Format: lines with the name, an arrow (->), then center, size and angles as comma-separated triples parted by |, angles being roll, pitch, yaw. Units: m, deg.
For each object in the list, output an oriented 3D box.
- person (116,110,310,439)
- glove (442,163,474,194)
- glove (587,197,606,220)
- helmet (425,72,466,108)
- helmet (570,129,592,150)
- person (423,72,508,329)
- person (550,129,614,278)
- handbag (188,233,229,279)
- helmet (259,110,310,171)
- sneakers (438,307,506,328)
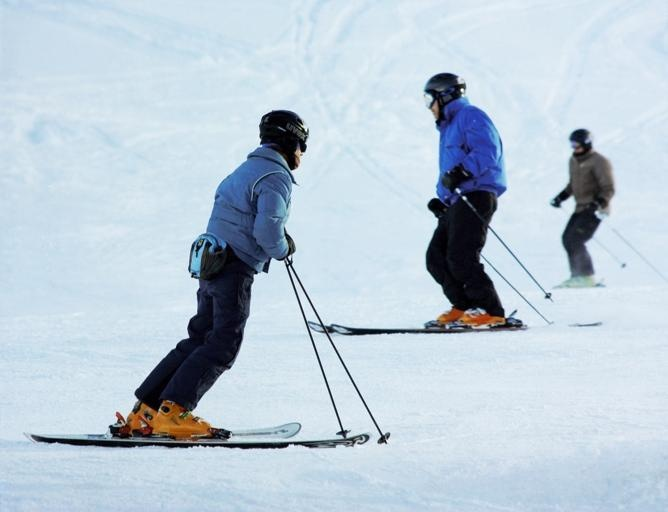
person -> -0.648, 0.086, 5.983 | 0.995, 1.822, 0.435 | -4, -9, 12
glove -> 0.919, -0.586, 8.000 | 0.221, 0.194, 0.080 | -41, -5, -13
glove -> 2.821, -0.495, 11.390 | 0.157, 0.235, 0.369 | -2, -8, -4
helmet -> 0.847, -1.294, 8.342 | 0.341, 0.256, 0.258 | -5, 11, 9
helmet -> 2.608, -1.230, 11.318 | 0.214, 0.215, 0.200 | -5, -9, 18
person -> 1.022, -0.428, 8.254 | 0.561, 1.929, 0.696 | 0, -9, -13
person -> 2.717, -0.490, 11.626 | 0.585, 1.598, 1.046 | -4, -8, 8
handbag -> -0.689, -0.014, 5.975 | 0.205, 0.246, 0.258 | 9, 9, 27
helmet -> -0.289, -0.672, 6.212 | 0.306, 0.321, 0.262 | 7, 0, -32
sneakers -> 1.053, 0.461, 8.313 | 0.545, 0.201, 0.189 | 5, 0, 8
